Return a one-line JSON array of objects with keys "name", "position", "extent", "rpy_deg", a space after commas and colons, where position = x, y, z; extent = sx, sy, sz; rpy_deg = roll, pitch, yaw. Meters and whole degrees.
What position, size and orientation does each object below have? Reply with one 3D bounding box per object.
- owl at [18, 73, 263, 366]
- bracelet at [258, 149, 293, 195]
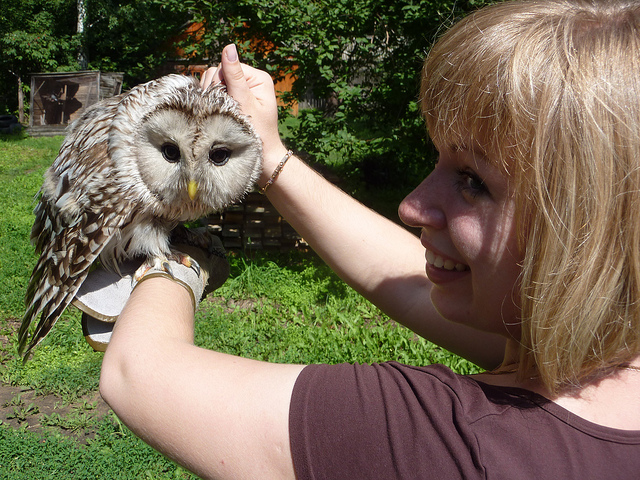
[{"name": "owl", "position": [-0.791, -0.126, 2.448], "extent": [0.903, 1.182, 0.711], "rpy_deg": [12, 18, 16]}, {"name": "bracelet", "position": [-0.158, -0.236, 1.981], "extent": [0.043, 0.147, 0.118], "rpy_deg": [42, -9, -8]}]
